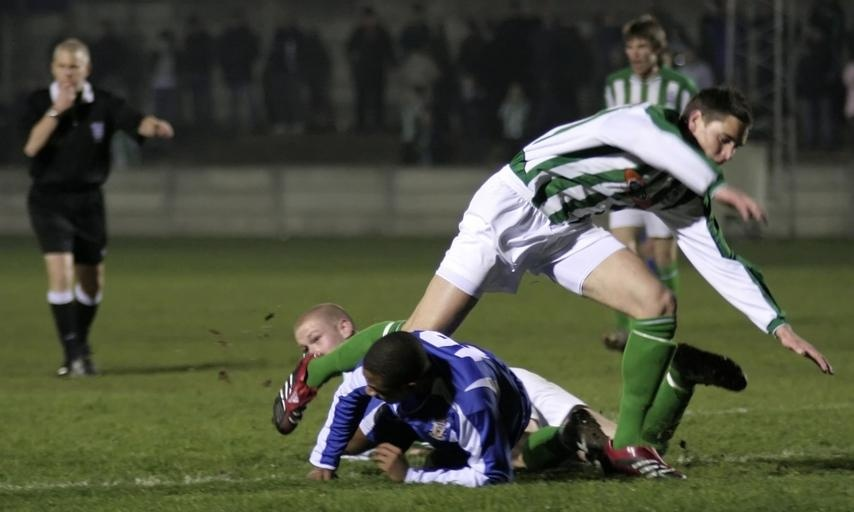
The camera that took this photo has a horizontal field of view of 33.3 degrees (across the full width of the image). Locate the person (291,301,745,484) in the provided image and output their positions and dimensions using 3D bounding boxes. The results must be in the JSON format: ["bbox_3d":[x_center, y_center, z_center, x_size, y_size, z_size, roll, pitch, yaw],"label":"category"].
[{"bbox_3d":[0.198,1.034,11.819,2.727,0.744,1.565,1,-23,4],"label":"person"}]

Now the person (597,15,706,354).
[{"bbox_3d":[2.167,-0.830,14.157,0.617,2.946,1.427,3,-3,21],"label":"person"}]
